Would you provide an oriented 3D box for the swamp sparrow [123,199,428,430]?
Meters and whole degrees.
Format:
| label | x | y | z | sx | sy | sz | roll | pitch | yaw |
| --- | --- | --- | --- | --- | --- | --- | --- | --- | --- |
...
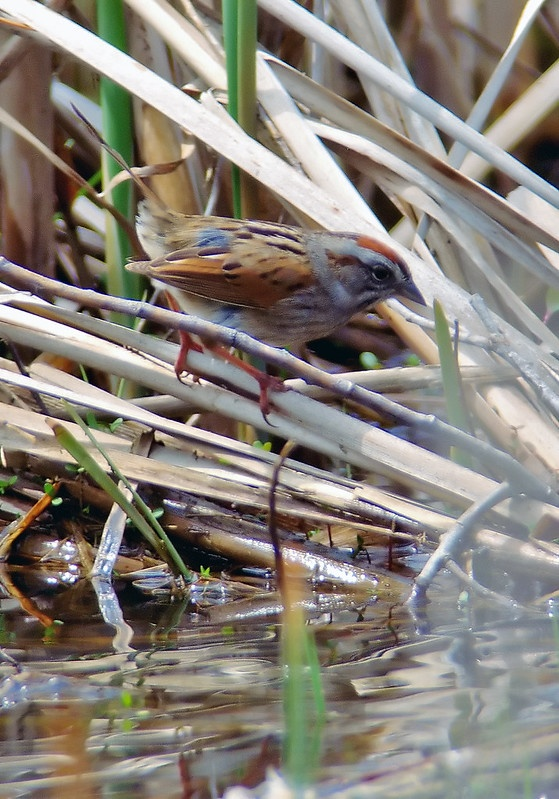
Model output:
| label | x | y | z | sx | sy | sz | roll | pitch | yaw |
| --- | --- | --- | --- | --- | --- | --- | --- | --- | --- |
| swamp sparrow | -0.023 | -0.266 | 2.568 | 0.952 | 0.640 | 0.335 | 16 | 41 | -19 |
